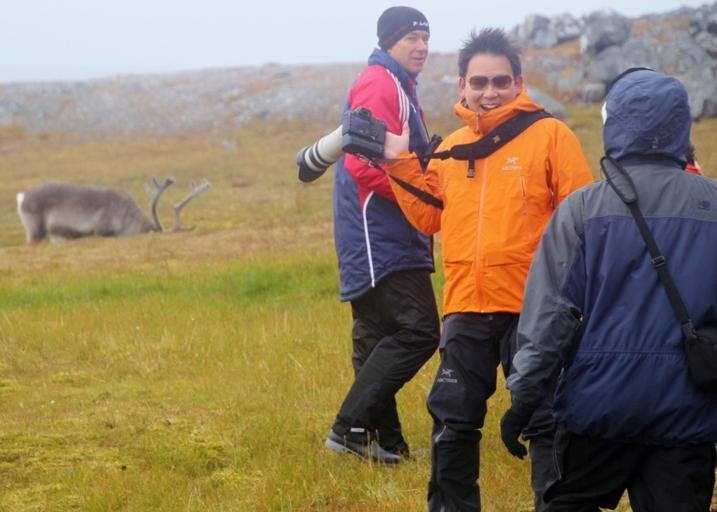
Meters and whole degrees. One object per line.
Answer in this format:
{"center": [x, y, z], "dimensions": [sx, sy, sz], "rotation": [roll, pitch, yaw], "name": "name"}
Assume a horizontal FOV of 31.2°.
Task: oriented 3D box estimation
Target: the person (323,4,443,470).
{"center": [0.161, 0.078, 8.194], "dimensions": [0.518, 2.893, 1.591], "rotation": [1, 4, 17], "name": "person"}

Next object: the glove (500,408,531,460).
{"center": [0.860, 0.974, 7.065], "dimensions": [0.084, 0.272, 0.200], "rotation": [-7, -18, 12], "name": "glove"}

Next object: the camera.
{"center": [-0.107, -0.685, 7.844], "dimensions": [0.300, 0.248, 0.618], "rotation": [13, -25, -36], "name": "camera"}
